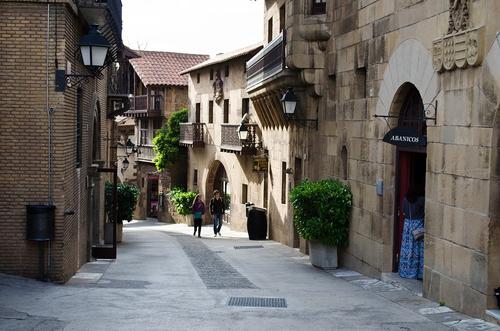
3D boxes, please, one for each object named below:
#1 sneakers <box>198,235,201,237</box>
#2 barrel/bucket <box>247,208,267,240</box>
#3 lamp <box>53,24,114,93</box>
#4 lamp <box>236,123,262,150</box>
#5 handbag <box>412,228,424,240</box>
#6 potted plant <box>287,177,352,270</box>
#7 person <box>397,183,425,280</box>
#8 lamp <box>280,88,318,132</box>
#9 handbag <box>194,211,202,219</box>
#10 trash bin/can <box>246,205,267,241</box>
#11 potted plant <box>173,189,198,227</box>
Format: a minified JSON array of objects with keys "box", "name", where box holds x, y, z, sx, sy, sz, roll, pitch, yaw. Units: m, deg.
[{"box":[-2.344,3.287,26.804,0.044,0.104,0.139,5,10,22],"name":"sneakers"},{"box":[0.428,2.567,25.417,1.023,1.761,1.253,2,-3,-10],"name":"barrel/bucket"},{"box":[-4.153,-2.641,14.449,1.258,1.759,1.971,0,-1,-16],"name":"lamp"},{"box":[-0.160,-1.524,27.937,0.868,1.459,0.447,1,30,-2],"name":"lamp"},{"box":[3.941,1.600,13.578,0.213,0.190,0.092,-12,-3,-5],"name":"handbag"},{"box":[2.374,1.614,17.038,2.264,3.018,1.959,1,-4,-30],"name":"potted plant"},{"box":[3.906,1.580,13.729,0.397,2.295,0.802,0,-1,-21],"name":"person"},{"box":[1.702,-1.945,19.718,1.350,1.834,0.660,0,12,1],"name":"lamp"},{"box":[-2.299,2.165,25.482,0.276,0.324,0.120,2,9,7],"name":"handbag"},{"box":[0.297,2.555,25.345,1.077,1.952,1.210,1,-1,19],"name":"trash bin/can"},{"box":[-3.950,2.752,37.027,1.446,2.120,1.833,-4,-3,-27],"name":"potted plant"}]
